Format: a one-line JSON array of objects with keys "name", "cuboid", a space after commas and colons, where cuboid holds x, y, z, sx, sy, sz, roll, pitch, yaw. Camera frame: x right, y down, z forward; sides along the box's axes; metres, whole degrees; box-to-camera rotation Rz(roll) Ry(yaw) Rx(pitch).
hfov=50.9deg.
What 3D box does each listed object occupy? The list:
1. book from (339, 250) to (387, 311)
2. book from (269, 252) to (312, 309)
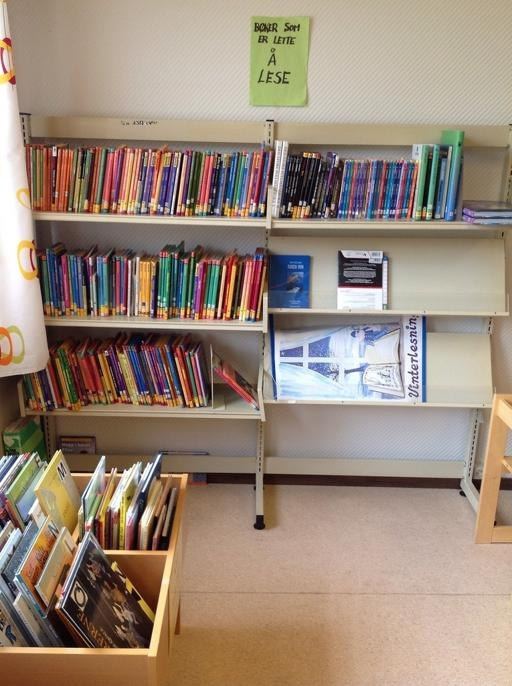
[{"name": "book", "cuboid": [0.468, -0.264, 2.369, 0.269, 0.338, 0.040, 1, -7, -1]}, {"name": "book", "cuboid": [0.147, -0.271, 2.397, 0.252, 0.309, 0.034, 0, -5, -1]}]
